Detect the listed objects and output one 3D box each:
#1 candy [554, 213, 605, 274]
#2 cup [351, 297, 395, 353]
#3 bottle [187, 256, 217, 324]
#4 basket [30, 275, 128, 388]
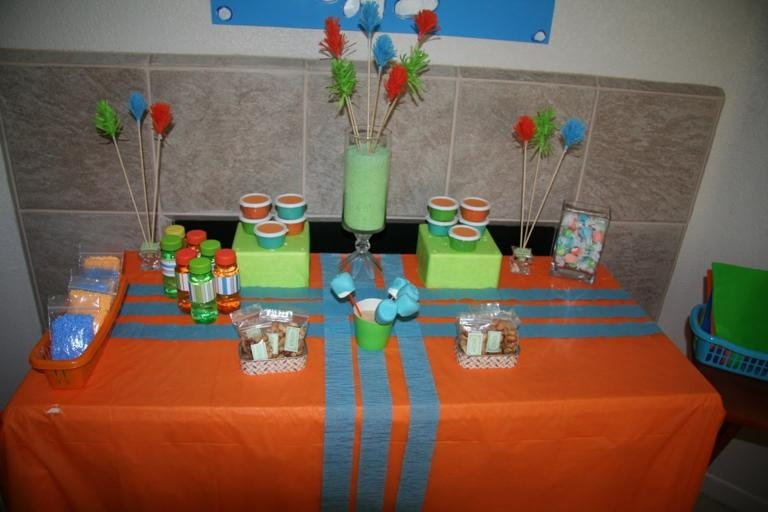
[{"bbox_3d":[0.751,-0.040,1.986,0.141,0.253,0.158,-8,25,-18],"label":"candy"},{"bbox_3d":[-0.044,0.234,1.694,0.155,0.139,0.227,0,25,-4],"label":"cup"},{"bbox_3d":[-0.608,0.126,1.691,0.085,0.198,0.083,-2,11,0],"label":"bottle"},{"bbox_3d":[-0.928,0.224,1.539,0.178,0.102,0.321,11,55,-12],"label":"basket"}]
